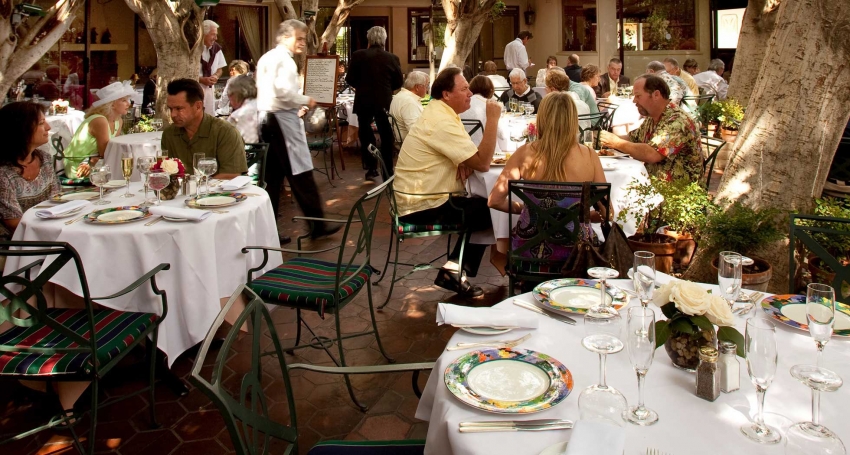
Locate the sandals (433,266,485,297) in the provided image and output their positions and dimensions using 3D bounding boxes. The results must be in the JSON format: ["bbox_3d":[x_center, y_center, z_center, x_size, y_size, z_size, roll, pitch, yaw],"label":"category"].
[{"bbox_3d":[0.380,0.575,6.111,0.595,0.250,0.220,12,30,15],"label":"sandals"}]

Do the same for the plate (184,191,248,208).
[{"bbox_3d":[-1.925,-0.260,5.027,0.264,0.035,0.257,9,22,23],"label":"plate"}]

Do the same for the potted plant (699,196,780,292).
[{"bbox_3d":[2.869,0.157,4.900,0.807,0.831,0.704,-12,15,-43],"label":"potted plant"}]

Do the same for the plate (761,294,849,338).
[{"bbox_3d":[2.352,0.541,3.385,0.329,0.038,0.323,-13,19,-25],"label":"plate"}]

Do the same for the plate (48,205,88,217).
[{"bbox_3d":[-3.133,-0.164,4.745,0.129,0.042,0.191,2,16,13],"label":"plate"}]

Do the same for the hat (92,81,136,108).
[{"bbox_3d":[-4.500,-1.865,7.687,0.556,0.208,0.529,-13,20,22],"label":"hat"}]

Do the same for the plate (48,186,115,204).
[{"bbox_3d":[-3.309,-0.324,5.220,0.320,0.042,0.315,5,15,11],"label":"plate"}]

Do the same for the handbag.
[{"bbox_3d":[1.444,0.235,4.401,0.513,0.448,0.281,-8,-23,2],"label":"handbag"}]

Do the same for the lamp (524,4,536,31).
[{"bbox_3d":[4.327,-8.741,22.321,0.494,0.981,0.289,2,14,4],"label":"lamp"}]

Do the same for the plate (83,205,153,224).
[{"bbox_3d":[-2.643,-0.113,4.679,0.264,0.027,0.259,15,23,36],"label":"plate"}]

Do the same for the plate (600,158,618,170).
[{"bbox_3d":[2.088,-0.726,6.169,0.248,0.034,0.245,3,20,14],"label":"plate"}]

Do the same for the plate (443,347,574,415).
[{"bbox_3d":[0.474,0.859,3.037,0.694,0.087,0.690,1,17,13],"label":"plate"}]
